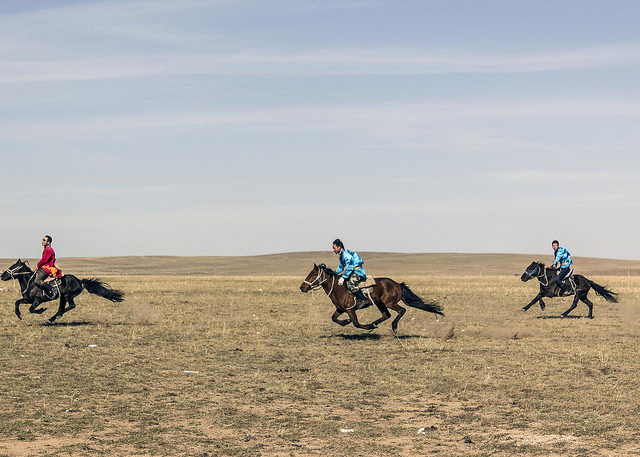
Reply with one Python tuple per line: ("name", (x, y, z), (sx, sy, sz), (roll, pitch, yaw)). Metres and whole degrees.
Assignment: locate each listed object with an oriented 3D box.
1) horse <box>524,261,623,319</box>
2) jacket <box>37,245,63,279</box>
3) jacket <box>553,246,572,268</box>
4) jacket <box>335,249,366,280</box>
("horse", (10.428, 2.638, 58.084), (4.465, 2.236, 1.095), (7, 3, -13))
("jacket", (-9.886, 1.242, 51.593), (1.108, 1.383, 0.845), (6, 7, 6))
("jacket", (9.911, 1.169, 57.825), (0.667, 0.875, 0.527), (-2, 0, 8))
("jacket", (1.115, 1.264, 50.163), (1.044, 1.090, 0.837), (-2, 0, 1))
